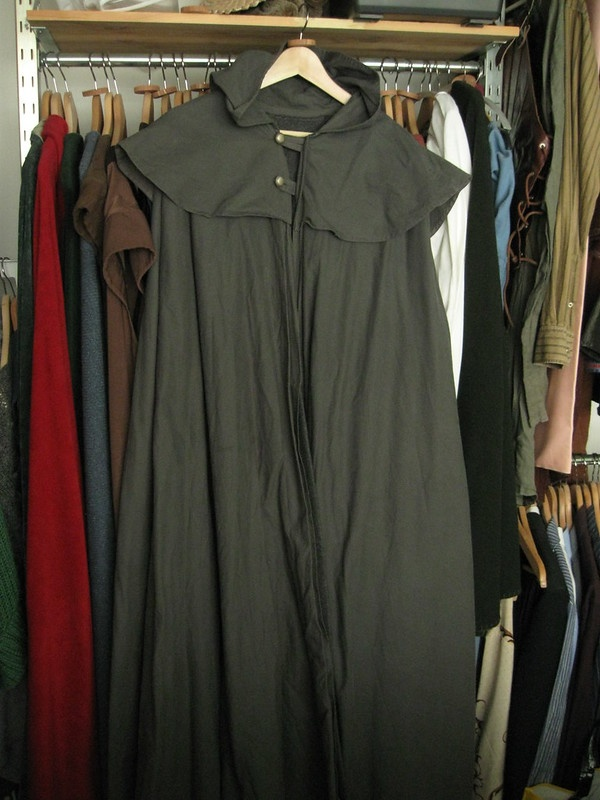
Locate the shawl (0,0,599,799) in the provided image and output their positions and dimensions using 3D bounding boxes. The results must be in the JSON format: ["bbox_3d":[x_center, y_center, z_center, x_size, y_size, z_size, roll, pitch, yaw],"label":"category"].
[{"bbox_3d":[-0.070,0.030,1.226,0.685,1.175,0.326,-1,8,-10],"label":"shawl"}]
